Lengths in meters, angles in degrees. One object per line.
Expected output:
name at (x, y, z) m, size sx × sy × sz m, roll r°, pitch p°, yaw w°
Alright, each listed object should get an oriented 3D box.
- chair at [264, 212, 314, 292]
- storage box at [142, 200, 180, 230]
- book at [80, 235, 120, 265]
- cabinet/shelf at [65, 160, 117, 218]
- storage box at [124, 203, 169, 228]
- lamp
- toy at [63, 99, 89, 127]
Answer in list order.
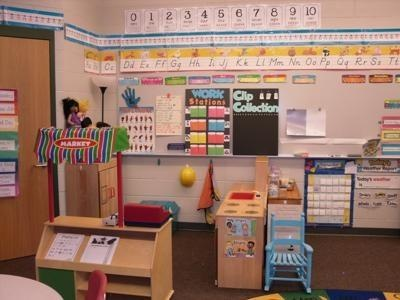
chair at (1.118, 1.304, 4.748) m, size 0.652 × 1.049 × 0.953 m, roll 0°, pitch -3°, yaw 12°
storage box at (-0.605, 0.957, 6.035) m, size 0.678 × 0.448 × 0.682 m, roll 2°, pitch 4°, yaw 12°
book at (-1.102, 1.095, 3.965) m, size 0.376 × 0.235 × 0.212 m, roll 2°, pitch 11°, yaw 11°
cabinet/shelf at (-1.680, 0.594, 5.451) m, size 0.493 × 0.878 × 0.910 m, roll 1°, pitch 1°, yaw 11°
storage box at (-0.591, 0.675, 3.990) m, size 0.283 × 0.169 × 0.293 m, roll 1°, pitch 3°, yaw 11°
lamp at (-1.636, -0.850, 6.209) m, size 0.439 × 0.858 × 0.379 m, roll -3°, pitch 11°, yaw -14°
toy at (-1.958, -0.589, 5.678) m, size 0.386 × 0.450 × 0.230 m, roll -7°, pitch 13°, yaw -34°
